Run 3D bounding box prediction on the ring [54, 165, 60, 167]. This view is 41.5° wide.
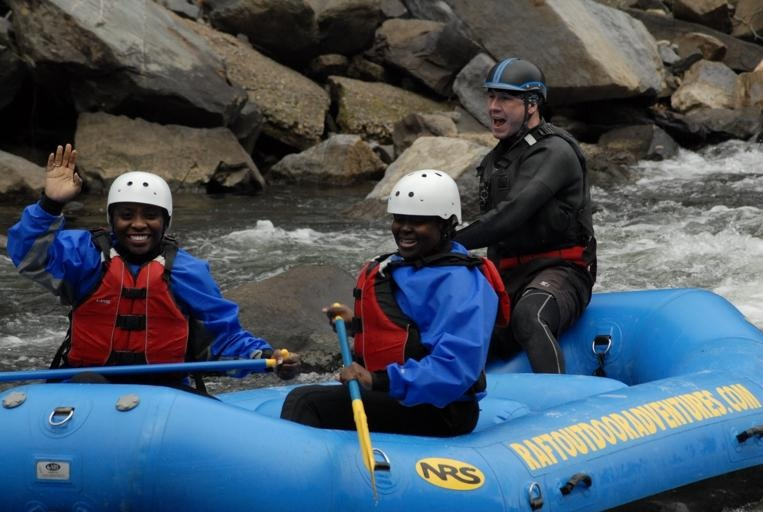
[{"bbox_3d":[-2.280,-0.632,7.112,0.036,0.020,0.012,-4,16,-14],"label":"ring"}]

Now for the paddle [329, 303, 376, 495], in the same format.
[{"bbox_3d":[-0.205,0.888,6.826,0.167,0.150,1.508,2,50,-24],"label":"paddle"}]

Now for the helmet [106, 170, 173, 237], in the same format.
[{"bbox_3d":[-1.728,-0.380,7.192,0.387,0.352,0.478,1,18,0],"label":"helmet"}]

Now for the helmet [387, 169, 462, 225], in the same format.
[{"bbox_3d":[0.299,-0.433,7.017,0.474,0.328,0.362,-10,12,-21],"label":"helmet"}]
